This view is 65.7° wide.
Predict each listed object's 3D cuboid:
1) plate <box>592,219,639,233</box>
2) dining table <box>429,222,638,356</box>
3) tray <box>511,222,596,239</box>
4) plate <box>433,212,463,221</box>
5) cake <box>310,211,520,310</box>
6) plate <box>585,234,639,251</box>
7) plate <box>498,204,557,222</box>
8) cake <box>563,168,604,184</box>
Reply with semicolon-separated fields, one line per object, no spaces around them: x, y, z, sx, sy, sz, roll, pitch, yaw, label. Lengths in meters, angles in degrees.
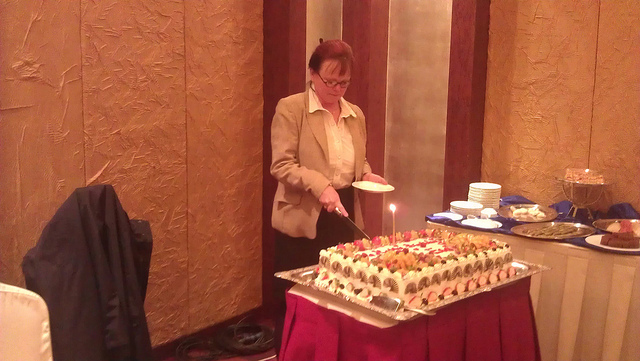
2.359;0.343;3.959;0.344;0.090;0.213;-3;5;-13;plate
1.524;0.801;3.479;0.911;0.457;0.547;7;14;40;dining table
1.827;0.390;3.924;0.624;0.078;0.333;-4;5;-17;tray
1.098;0.299;4.251;0.166;0.037;0.246;-6;7;-42;plate
0.663;0.535;3.277;1.020;0.345;0.685;-9;11;-37;cake
2.143;0.466;3.655;0.229;0.069;0.337;-7;7;-42;plate
1.759;0.272;4.212;0.459;0.109;0.304;-4;5;-20;plate
2.228;-0.041;4.221;0.296;0.116;0.299;0;5;20;cake
